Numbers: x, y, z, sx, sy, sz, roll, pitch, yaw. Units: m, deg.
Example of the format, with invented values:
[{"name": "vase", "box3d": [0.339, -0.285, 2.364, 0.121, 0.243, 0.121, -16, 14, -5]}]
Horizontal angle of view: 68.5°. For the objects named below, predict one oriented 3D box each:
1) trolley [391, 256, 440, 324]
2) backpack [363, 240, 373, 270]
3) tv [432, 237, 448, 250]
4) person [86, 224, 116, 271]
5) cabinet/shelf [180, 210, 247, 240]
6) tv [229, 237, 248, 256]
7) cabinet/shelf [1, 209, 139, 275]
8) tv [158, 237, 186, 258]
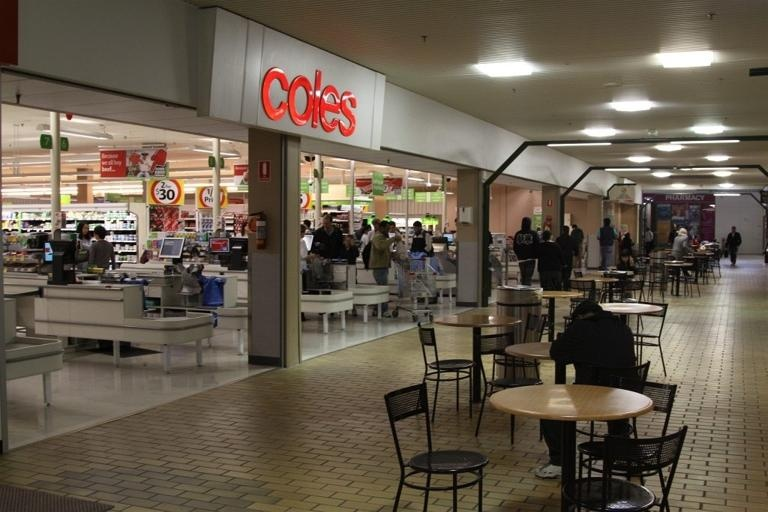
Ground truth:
[{"name": "trolley", "box3d": [0.799, 0.725, 13.410, 1.240, 1.344, 1.221, 1, -1, 20]}, {"name": "backpack", "box3d": [-0.414, -0.032, 13.610, 0.222, 0.552, 0.432, 5, 5, -13]}, {"name": "tv", "box3d": [2.033, -0.479, 20.330, 0.600, 0.482, 0.530, 3, 8, 12]}, {"name": "person", "box3d": [-5.787, -0.174, 11.552, 0.461, 0.890, 1.186, 1, 1, -27]}, {"name": "cabinet/shelf", "box3d": [-5.791, -1.041, 18.796, 1.680, 1.284, 0.805, -1, 2, -6]}, {"name": "tv", "box3d": [-3.067, -0.205, 11.837, 0.289, 0.361, 0.462, 1, 1, -26]}, {"name": "cabinet/shelf", "box3d": [-7.960, -0.429, 14.436, 2.322, 1.108, 0.747, -1, -3, 8]}, {"name": "tv", "box3d": [-4.317, -0.164, 11.435, 0.390, 0.418, 0.700, 1, 1, -25]}]
